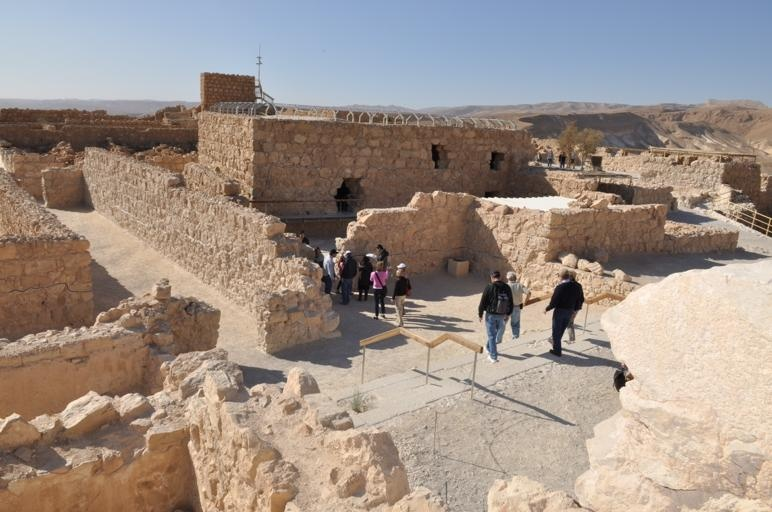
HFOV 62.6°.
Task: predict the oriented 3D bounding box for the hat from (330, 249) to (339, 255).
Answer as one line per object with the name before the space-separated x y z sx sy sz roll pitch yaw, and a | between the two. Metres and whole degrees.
hat | -0.962 -0.057 11.891 0.108 0.105 0.120 5 11 -4

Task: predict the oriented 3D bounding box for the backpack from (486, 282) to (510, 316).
backpack | 1.530 0.581 8.485 0.378 0.382 0.260 -2 11 -21

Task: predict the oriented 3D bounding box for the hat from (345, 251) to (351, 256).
hat | -0.708 -0.034 12.002 0.123 0.049 0.149 -2 -1 -4
